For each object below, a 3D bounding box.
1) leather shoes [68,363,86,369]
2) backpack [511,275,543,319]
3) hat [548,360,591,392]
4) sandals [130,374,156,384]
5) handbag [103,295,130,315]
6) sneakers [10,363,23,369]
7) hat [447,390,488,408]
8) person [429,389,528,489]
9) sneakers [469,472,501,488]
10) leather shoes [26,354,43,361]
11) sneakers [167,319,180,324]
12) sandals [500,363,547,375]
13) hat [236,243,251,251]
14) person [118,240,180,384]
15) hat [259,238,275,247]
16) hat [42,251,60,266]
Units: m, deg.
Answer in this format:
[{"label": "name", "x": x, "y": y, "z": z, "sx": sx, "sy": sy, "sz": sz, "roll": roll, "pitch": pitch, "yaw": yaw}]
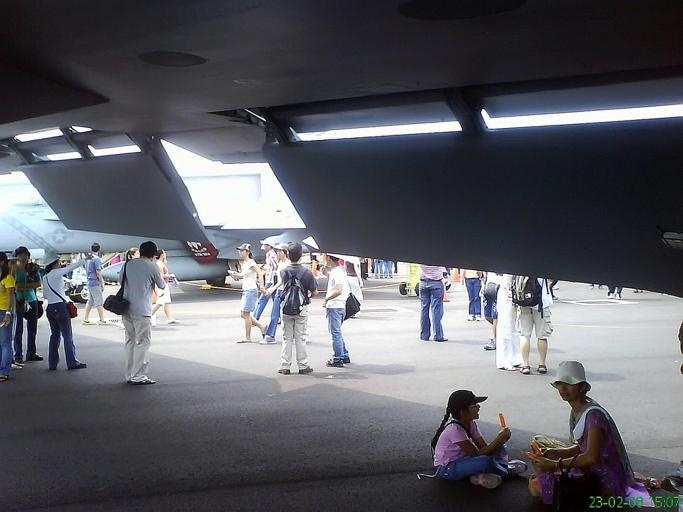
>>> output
[{"label": "leather shoes", "x": -5.492, "y": 2.287, "z": 9.574, "sx": 0.354, "sy": 0.099, "sz": 0.258, "roll": 6, "pitch": -4, "yaw": -41}, {"label": "backpack", "x": 3.608, "y": 0.683, "z": 8.892, "sx": 0.534, "sy": 0.686, "sz": 0.417, "roll": -6, "pitch": -4, "yaw": 40}, {"label": "hat", "x": 2.215, "y": 1.152, "z": 4.385, "sx": 0.373, "sy": 0.245, "sz": 0.478, "roll": -10, "pitch": -26, "yaw": 37}, {"label": "sandals", "x": -3.677, "y": 2.278, "z": 8.550, "sx": 0.562, "sy": 0.200, "sz": 0.177, "roll": 0, "pitch": -7, "yaw": -4}, {"label": "handbag", "x": -4.091, "y": 0.892, "z": 8.364, "sx": 0.395, "sy": 0.394, "sz": 0.329, "roll": 5, "pitch": -4, "yaw": -23}, {"label": "sneakers", "x": -6.880, "y": 2.329, "z": 9.717, "sx": 0.289, "sy": 0.104, "sz": 0.092, "roll": 8, "pitch": -4, "yaw": -32}, {"label": "hat", "x": 1.374, "y": 1.527, "z": 4.878, "sx": 0.413, "sy": 0.135, "sz": 0.252, "roll": -7, "pitch": -1, "yaw": -3}, {"label": "person", "x": 1.449, "y": 1.941, "z": 4.936, "sx": 0.949, "sy": 0.875, "sz": 0.708, "roll": -11, "pitch": -15, "yaw": 28}, {"label": "sneakers", "x": 1.514, "y": 2.314, "z": 4.782, "sx": 0.231, "sy": 0.132, "sz": 0.089, "roll": 1, "pitch": 11, "yaw": 20}, {"label": "leather shoes", "x": -6.935, "y": 2.288, "z": 10.408, "sx": 0.317, "sy": 0.201, "sz": 0.157, "roll": 1, "pitch": 7, "yaw": -14}, {"label": "sneakers", "x": -5.428, "y": 2.118, "z": 14.827, "sx": 0.294, "sy": 0.104, "sz": 0.150, "roll": 0, "pitch": -2, "yaw": -8}, {"label": "sandals", "x": 3.568, "y": 2.208, "z": 8.977, "sx": 0.578, "sy": 0.210, "sz": 0.176, "roll": -7, "pitch": -6, "yaw": 41}, {"label": "hat", "x": -2.713, "y": -0.247, "z": 12.688, "sx": 0.314, "sy": 0.157, "sz": 0.227, "roll": 8, "pitch": -7, "yaw": -33}, {"label": "person", "x": -3.754, "y": 1.031, "z": 8.554, "sx": 0.725, "sy": 2.653, "sz": 0.586, "roll": 6, "pitch": -4, "yaw": -30}, {"label": "hat", "x": -2.073, "y": -0.326, "z": 13.178, "sx": 0.470, "sy": 0.140, "sz": 0.317, "roll": 9, "pitch": 15, "yaw": -20}, {"label": "hat", "x": -10.289, "y": 0.059, "z": 16.216, "sx": 0.502, "sy": 0.498, "sz": 0.617, "roll": 7, "pitch": -18, "yaw": -44}]
